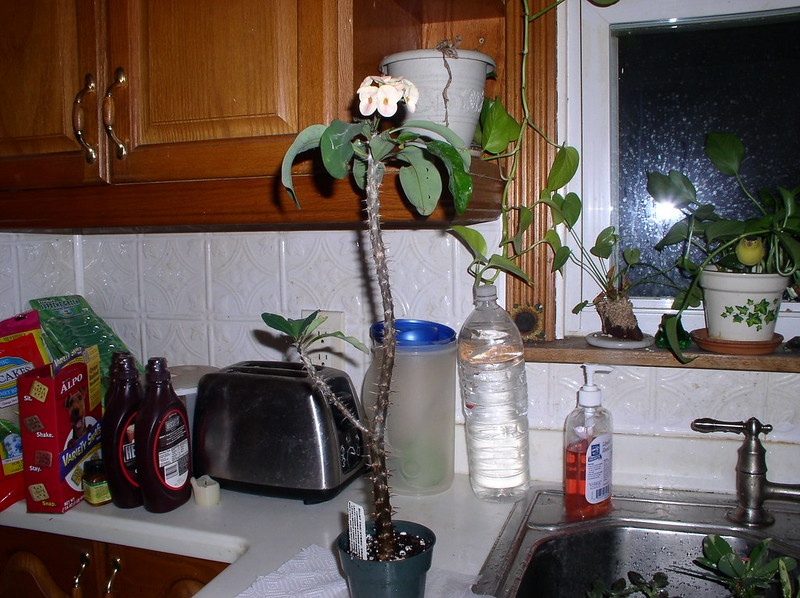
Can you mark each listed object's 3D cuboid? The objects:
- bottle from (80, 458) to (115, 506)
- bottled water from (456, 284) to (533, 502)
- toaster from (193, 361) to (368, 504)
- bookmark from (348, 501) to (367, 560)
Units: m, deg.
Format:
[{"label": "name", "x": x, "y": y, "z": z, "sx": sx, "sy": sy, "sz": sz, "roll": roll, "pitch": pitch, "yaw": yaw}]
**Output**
[{"label": "bottle", "x": -0.611, "y": 0.374, "z": 1.236, "sx": 0.048, "sy": 0.081, "sz": 0.052, "roll": -3, "pitch": 2, "yaw": 0}, {"label": "bottled water", "x": 0.177, "y": 0.192, "z": 1.282, "sx": 0.132, "sy": 0.442, "sz": 0.144, "roll": 1, "pitch": 13, "yaw": -6}, {"label": "toaster", "x": -0.252, "y": 0.274, "z": 1.312, "sx": 0.328, "sy": 0.233, "sz": 0.245, "roll": 0, "pitch": 5, "yaw": 22}, {"label": "bookmark", "x": -0.059, "y": 0.314, "z": 0.841, "sx": 0.026, "sy": 0.080, "sz": 0.047, "roll": -3, "pitch": 8, "yaw": -7}]
